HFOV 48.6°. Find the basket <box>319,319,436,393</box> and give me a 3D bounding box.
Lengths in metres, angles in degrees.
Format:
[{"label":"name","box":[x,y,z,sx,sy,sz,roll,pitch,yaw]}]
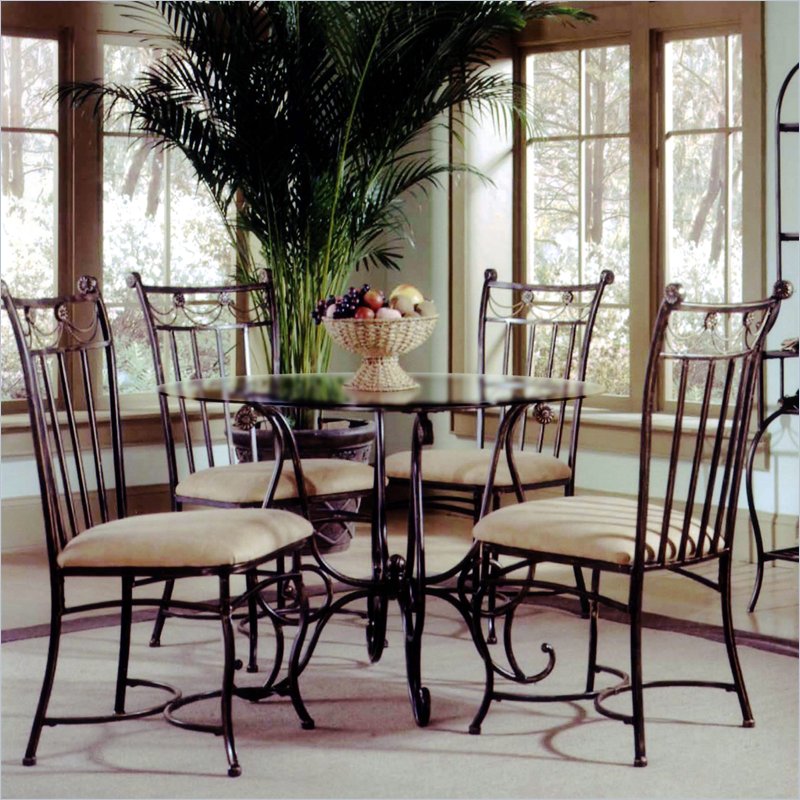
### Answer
[{"label":"basket","box":[-0.041,-0.120,2.242,0.244,0.140,0.209,-1,-4,7]}]
